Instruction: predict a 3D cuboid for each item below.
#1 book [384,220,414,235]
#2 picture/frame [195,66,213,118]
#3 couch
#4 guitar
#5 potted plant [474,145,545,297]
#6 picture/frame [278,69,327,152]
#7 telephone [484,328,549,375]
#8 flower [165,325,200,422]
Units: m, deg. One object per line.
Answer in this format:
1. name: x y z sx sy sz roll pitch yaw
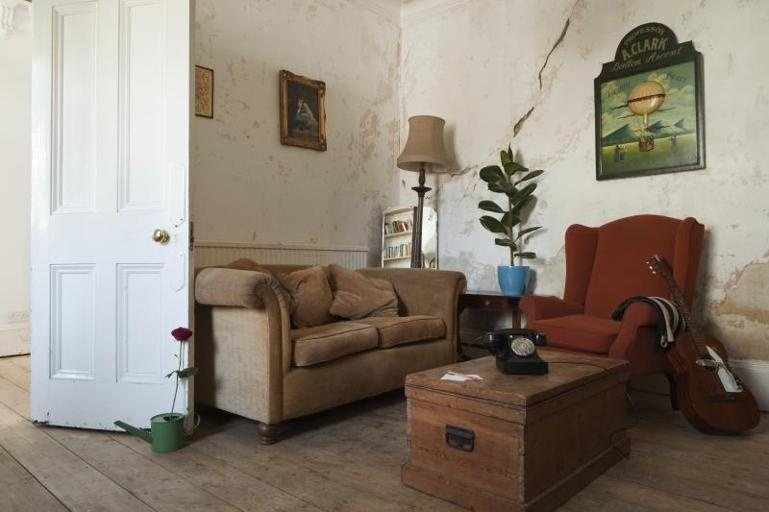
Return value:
1. book: 0.130 -0.292 5.604 0.184 0.066 0.190 13 -17 -43
2. picture/frame: -1.477 -1.336 4.471 0.146 0.419 0.077 -5 12 -27
3. couch: -0.401 0.553 4.239 1.014 1.068 2.153 -1 -1 41
4. guitar: 2.020 0.568 3.695 0.454 0.174 1.116 3 45 -12
5. potted plant: 1.175 -0.265 5.074 0.744 1.175 0.630 -3 4 -23
6. picture/frame: -0.770 -1.333 5.076 0.510 0.712 0.102 -8 14 -39
7. telephone: 0.723 0.520 2.988 0.311 0.198 0.252 1 6 7
8. flower: -1.253 0.716 3.381 0.168 0.559 0.141 5 12 -5
